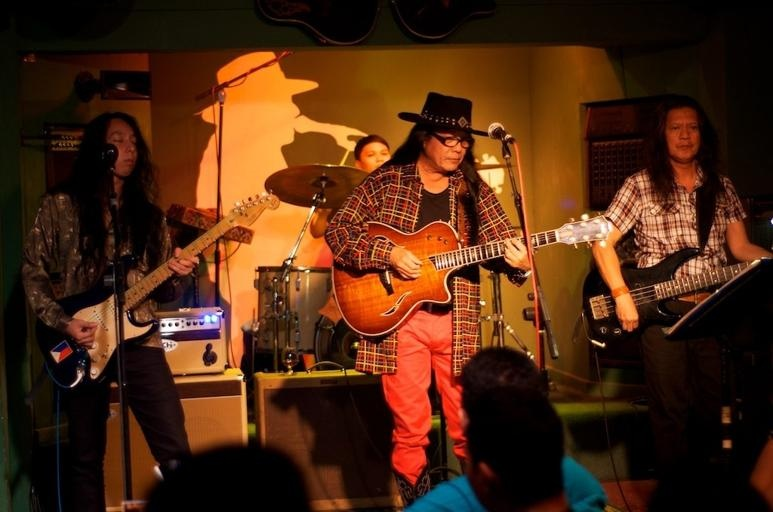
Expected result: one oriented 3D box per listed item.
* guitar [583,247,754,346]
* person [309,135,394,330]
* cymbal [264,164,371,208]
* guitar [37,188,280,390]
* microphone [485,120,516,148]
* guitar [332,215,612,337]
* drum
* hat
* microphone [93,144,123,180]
[{"bbox_3d":[1.945,0.231,4.211,0.182,0.633,1.598,21,-13,-2],"label":"guitar"},{"bbox_3d":[-0.493,-0.376,7.259,0.872,2.213,0.302,16,-4,-23],"label":"person"},{"bbox_3d":[-0.713,-0.689,6.231,0.627,0.149,0.637,-10,-24,18],"label":"cymbal"},{"bbox_3d":[-1.586,0.216,4.284,1.278,1.273,0.406,3,-8,-31],"label":"guitar"},{"bbox_3d":[0.697,-0.745,3.902,0.141,0.178,0.229,-2,-7,3],"label":"microphone"},{"bbox_3d":[0.500,-0.052,4.396,1.807,0.762,0.181,-16,24,-14],"label":"guitar"},{"bbox_3d":[-0.965,0.510,6.464,0.780,0.846,0.778,3,3,3],"label":"drum"},{"bbox_3d":[0.341,-0.989,4.440,0.387,0.166,0.431,11,3,-37],"label":"hat"},{"bbox_3d":[-1.804,-0.612,4.141,0.126,0.254,0.307,2,-8,-26],"label":"microphone"}]
